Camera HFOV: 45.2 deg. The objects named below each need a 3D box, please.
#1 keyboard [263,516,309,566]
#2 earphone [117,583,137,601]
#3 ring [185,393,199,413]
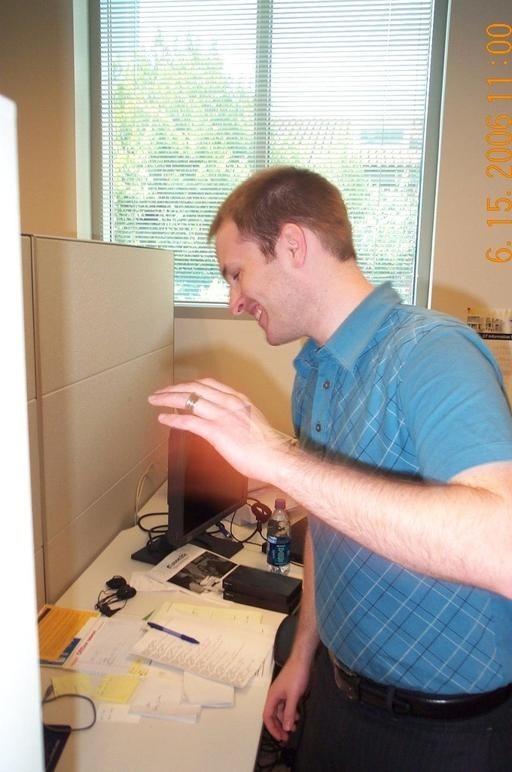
[{"bbox_3d":[0.080,0.481,1.885,0.092,0.178,0.094,0,10,4],"label":"keyboard"},{"bbox_3d":[-0.321,0.516,1.541,0.034,0.032,0.025,2,38,11],"label":"earphone"},{"bbox_3d":[-0.086,0.026,0.874,0.018,0.024,0.026,6,-38,-29],"label":"ring"}]
